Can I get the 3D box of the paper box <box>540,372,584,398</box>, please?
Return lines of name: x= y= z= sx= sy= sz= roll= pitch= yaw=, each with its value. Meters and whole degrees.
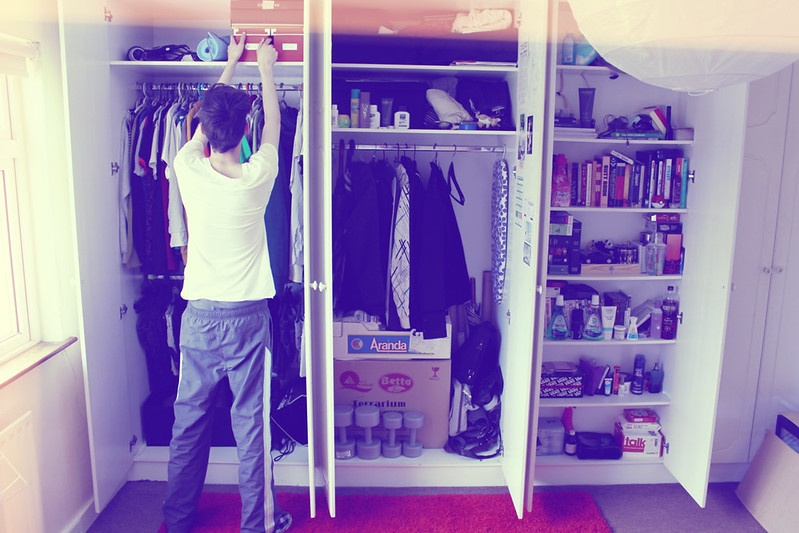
paper box: x=1.062 y=0.781 z=4.073 sx=0.257 sy=0.121 sz=0.184 roll=0 pitch=7 yaw=-1

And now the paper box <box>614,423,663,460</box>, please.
paper box: x=1.598 y=1.148 z=4.248 sx=0.243 sy=0.155 sz=0.239 roll=0 pitch=-1 yaw=5

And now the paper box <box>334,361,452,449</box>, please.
paper box: x=-0.037 y=0.731 z=4.203 sx=0.847 sy=0.693 sz=0.447 roll=0 pitch=2 yaw=2
